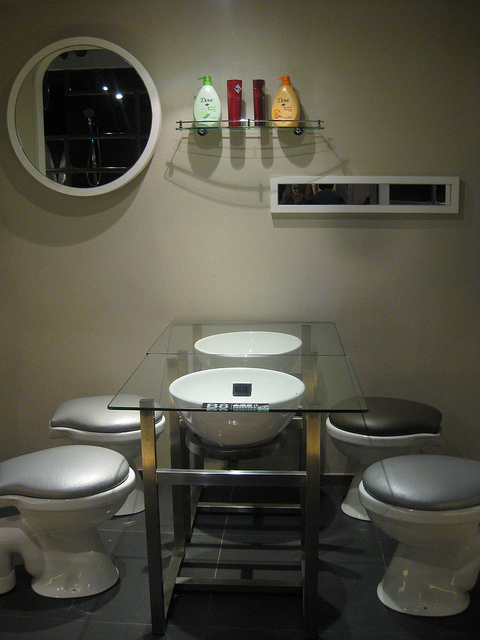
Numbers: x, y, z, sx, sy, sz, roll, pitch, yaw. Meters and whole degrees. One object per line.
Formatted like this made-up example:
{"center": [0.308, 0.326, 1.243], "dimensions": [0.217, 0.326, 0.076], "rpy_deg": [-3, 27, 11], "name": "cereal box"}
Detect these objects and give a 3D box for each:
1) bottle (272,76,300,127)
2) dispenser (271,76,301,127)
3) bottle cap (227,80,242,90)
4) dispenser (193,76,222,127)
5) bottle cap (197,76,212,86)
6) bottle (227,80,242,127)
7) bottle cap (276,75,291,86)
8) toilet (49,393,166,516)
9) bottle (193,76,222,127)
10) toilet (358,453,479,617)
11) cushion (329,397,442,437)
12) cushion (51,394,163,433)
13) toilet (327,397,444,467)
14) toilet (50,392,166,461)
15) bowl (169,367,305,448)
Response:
{"center": [0.163, -0.790, 1.977], "dimensions": [0.104, 0.191, 0.067], "rpy_deg": [2, 0, 12], "name": "bottle"}
{"center": [0.162, -0.789, 1.976], "dimensions": [0.104, 0.195, 0.067], "rpy_deg": [1, -4, 16], "name": "dispenser"}
{"center": [-0.024, -0.853, 1.964], "dimensions": [0.035, 0.037, 0.036], "rpy_deg": [2, 27, 5], "name": "bottle cap"}
{"center": [-0.120, -0.791, 1.978], "dimensions": [0.109, 0.196, 0.046], "rpy_deg": [-2, -6, 2], "name": "dispenser"}
{"center": [-0.131, -0.858, 1.961], "dimensions": [0.046, 0.050, 0.028], "rpy_deg": [-1, 7, 7], "name": "bottle cap"}
{"center": [-0.019, -0.784, 1.993], "dimensions": [0.057, 0.226, 0.044], "rpy_deg": [-1, -12, -5], "name": "bottle"}
{"center": [0.155, -0.852, 1.929], "dimensions": [0.042, 0.044, 0.026], "rpy_deg": [4, 19, 17], "name": "bottle cap"}
{"center": [-0.519, 0.494, 2.092], "dimensions": [0.391, 0.390, 0.314], "rpy_deg": [0, 13, -2], "name": "toilet"}
{"center": [-0.125, -0.798, 1.999], "dimensions": [0.110, 0.183, 0.122], "rpy_deg": [-1, 9, -2], "name": "bottle"}
{"center": [0.451, 0.591, 1.623], "dimensions": [0.387, 0.449, 0.343], "rpy_deg": [0, 8, 10], "name": "toilet"}
{"center": [0.526, 0.338, 1.889], "dimensions": [0.330, 0.087, 0.281], "rpy_deg": [-3, 8, 1], "name": "cushion"}
{"center": [-0.515, 0.342, 1.965], "dimensions": [0.323, 0.080, 0.243], "rpy_deg": [2, 8, 5], "name": "cushion"}
{"center": [0.491, 0.353, 1.947], "dimensions": [0.393, 0.308, 0.360], "rpy_deg": [-1, 9, 7], "name": "toilet"}
{"center": [-0.466, 0.372, 1.941], "dimensions": [0.386, 0.296, 0.342], "rpy_deg": [1, 16, -8], "name": "toilet"}
{"center": [-0.011, 0.223, 1.428], "dimensions": [0.358, 0.149, 0.417], "rpy_deg": [1, 9, 7], "name": "bowl"}
